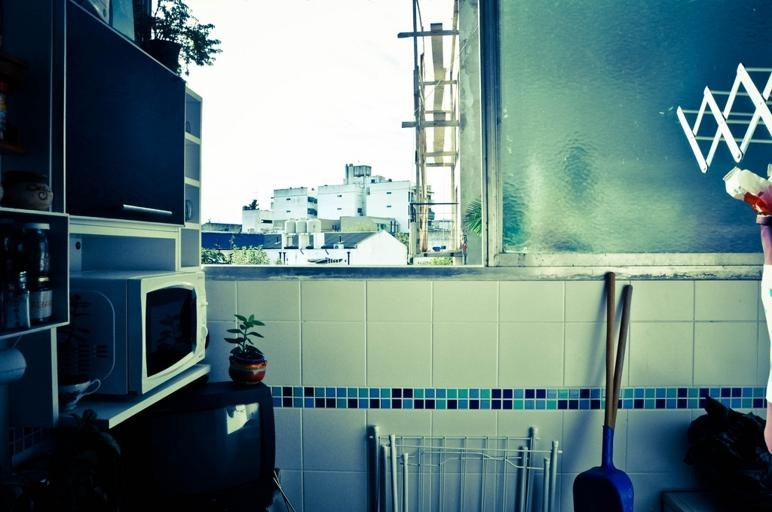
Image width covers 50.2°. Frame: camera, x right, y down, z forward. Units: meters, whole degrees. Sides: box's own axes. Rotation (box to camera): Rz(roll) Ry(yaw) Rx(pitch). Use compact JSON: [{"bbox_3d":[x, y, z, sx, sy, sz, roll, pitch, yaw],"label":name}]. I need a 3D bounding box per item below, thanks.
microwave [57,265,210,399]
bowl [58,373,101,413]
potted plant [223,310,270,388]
[{"bbox_3d":[-1.033,0.303,3.363,0.426,0.413,0.588,0,0,9],"label":"microwave"},{"bbox_3d":[-1.207,0.548,3.225,0.128,0.060,0.093,-3,3,-9],"label":"bowl"},{"bbox_3d":[-0.617,0.433,3.651,0.190,0.287,0.167,3,5,-28],"label":"potted plant"}]
